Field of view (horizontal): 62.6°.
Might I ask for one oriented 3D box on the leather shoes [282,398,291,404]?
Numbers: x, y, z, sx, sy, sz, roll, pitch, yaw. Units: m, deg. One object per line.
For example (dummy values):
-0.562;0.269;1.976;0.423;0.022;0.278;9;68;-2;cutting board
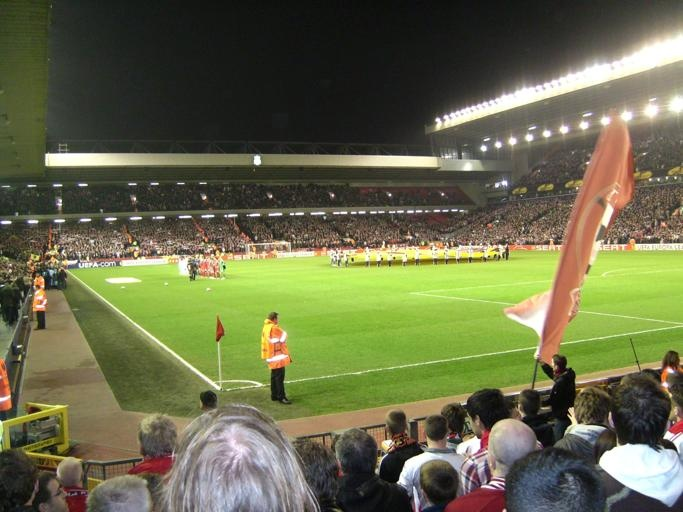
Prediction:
-1.055;2.765;10.752;0.173;0.076;0.226;0;0;-3;leather shoes
